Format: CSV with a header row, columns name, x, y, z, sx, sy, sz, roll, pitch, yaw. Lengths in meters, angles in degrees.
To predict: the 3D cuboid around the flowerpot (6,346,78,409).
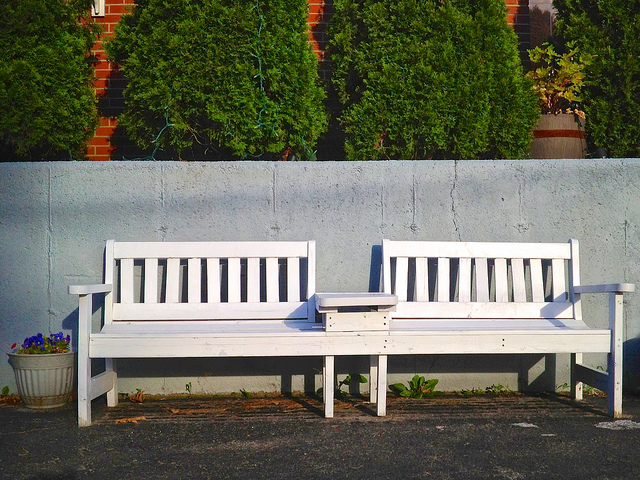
name,x,y,z,sx,sy,sz,roll,pitch,yaw
flowerpot,-2.430,1.175,10.233,0.475,0.396,0.501,0,1,-15
